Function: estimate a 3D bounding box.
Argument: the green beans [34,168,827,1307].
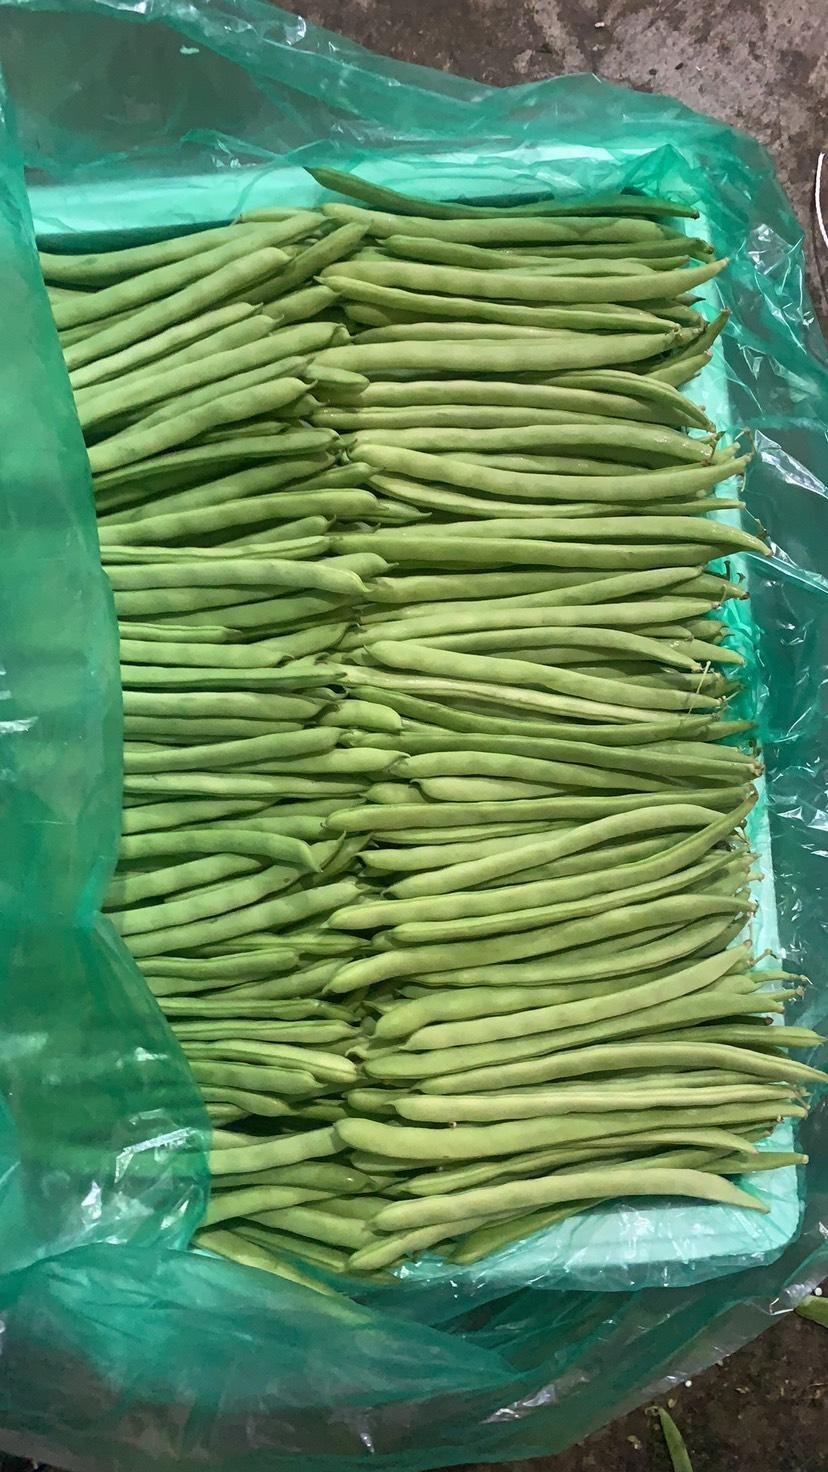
[{"bbox_3d":[0.008,-0.007,1.377,0.662,0.342,1.036,-5,90,-4],"label":"green beans"}]
